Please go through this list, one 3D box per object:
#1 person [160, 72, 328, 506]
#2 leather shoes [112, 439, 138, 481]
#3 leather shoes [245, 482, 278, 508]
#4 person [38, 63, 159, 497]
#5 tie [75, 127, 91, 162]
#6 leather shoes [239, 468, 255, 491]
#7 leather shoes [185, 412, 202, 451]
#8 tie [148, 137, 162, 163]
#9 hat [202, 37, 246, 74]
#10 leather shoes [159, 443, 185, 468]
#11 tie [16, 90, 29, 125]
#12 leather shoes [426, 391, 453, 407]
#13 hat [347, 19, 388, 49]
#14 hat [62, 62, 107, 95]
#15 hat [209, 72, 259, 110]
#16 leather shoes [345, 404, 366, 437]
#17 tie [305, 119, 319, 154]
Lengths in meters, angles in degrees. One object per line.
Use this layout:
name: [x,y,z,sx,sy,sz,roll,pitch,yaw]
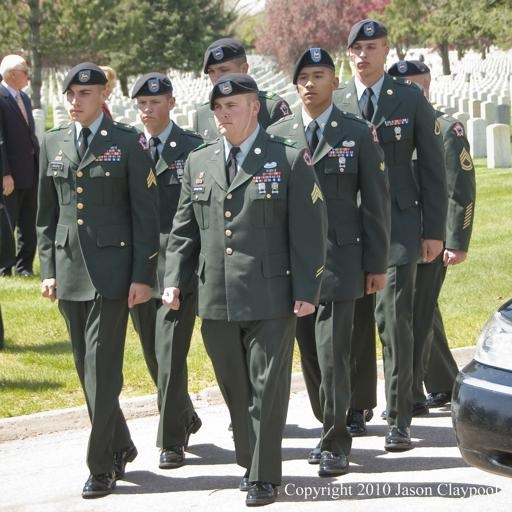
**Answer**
person: [-0.067,0.152,4.212,0.730,2.036,0.676,7,14,41]
leather shoes: [-0.689,1.068,4.521,0.065,0.207,0.098,6,-12,34]
leather shoes: [0.024,1.098,3.970,0.138,0.116,0.140,-2,11,4]
person: [-0.865,0.083,4.453,0.624,2.092,0.654,6,14,39]
tie: [-0.873,-0.571,4.403,0.047,0.209,0.054,9,-25,6]
leather shoes: [-0.045,1.073,4.110,0.040,0.056,0.123,3,7,12]
leather shoes: [-0.365,1.000,4.932,0.070,0.209,0.087,10,-3,26]
tie: [-0.596,-0.618,5.065,0.043,0.141,0.096,-10,10,-37]
hat: [-0.191,-1.217,5.235,0.249,0.208,0.298,-3,11,0]
leather shoes: [-0.457,1.075,4.644,0.079,0.104,0.240,-1,-12,2]
tie: [-2.465,-1.545,9.080,0.079,0.073,0.611,2,33,-14]
leather shoes: [1.172,0.935,5.608,0.218,0.099,0.076,3,-2,-8]
hat: [0.623,-1.257,4.863,0.221,0.154,0.310,-1,12,8]
hat: [-0.846,-0.889,4.318,0.135,0.108,0.190,-6,13,9]
hat: [-0.101,-0.778,4.029,0.158,0.107,0.181,-3,11,32]
leather shoes: [0.566,0.947,4.948,0.161,0.218,0.497,-2,-14,9]
tie: [0.306,-0.644,4.683,0.037,0.156,0.089,5,-3,-42]
